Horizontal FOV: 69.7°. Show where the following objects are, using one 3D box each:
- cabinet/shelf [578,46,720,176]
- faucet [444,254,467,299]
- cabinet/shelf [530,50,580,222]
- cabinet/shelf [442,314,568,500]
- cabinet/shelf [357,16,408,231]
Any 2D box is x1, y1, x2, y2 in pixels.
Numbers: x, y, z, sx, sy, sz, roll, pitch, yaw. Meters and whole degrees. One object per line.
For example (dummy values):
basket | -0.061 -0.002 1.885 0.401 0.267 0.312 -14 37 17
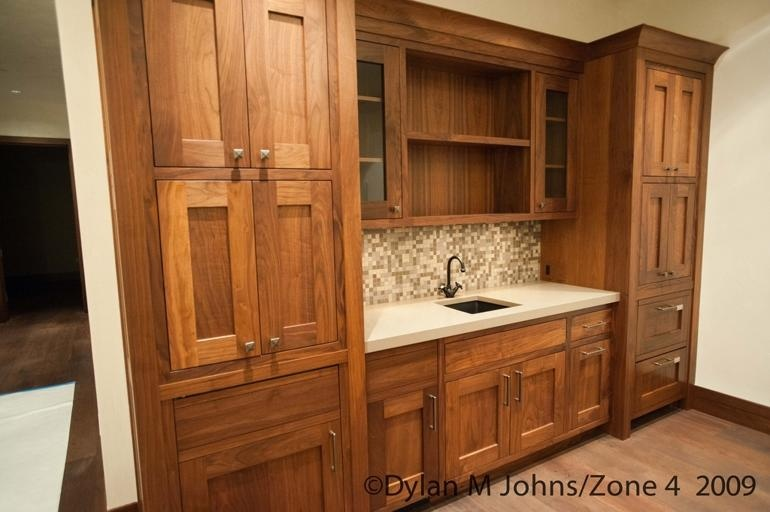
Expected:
cabinet/shelf | 2.034 -1.175 4.382 1.118 1.196 0.636 -2 4 -29
faucet | 0.546 0.156 4.339 0.179 0.343 0.368 1 9 8
cabinet/shelf | 1.349 -0.880 4.393 0.485 1.143 0.163 -8 12 -39
cabinet/shelf | 0.827 1.077 3.962 1.376 1.109 0.571 -3 2 -35
cabinet/shelf | -0.009 -0.878 3.798 0.328 1.298 0.186 -2 10 -10
